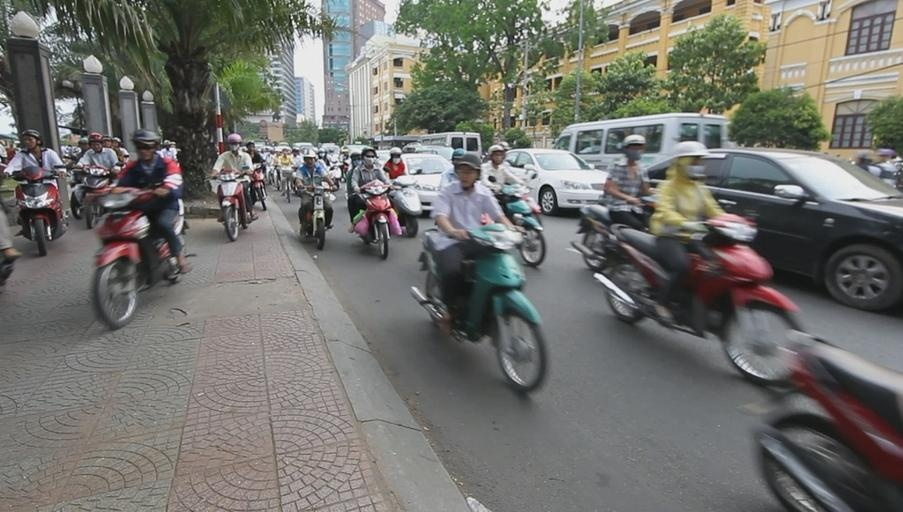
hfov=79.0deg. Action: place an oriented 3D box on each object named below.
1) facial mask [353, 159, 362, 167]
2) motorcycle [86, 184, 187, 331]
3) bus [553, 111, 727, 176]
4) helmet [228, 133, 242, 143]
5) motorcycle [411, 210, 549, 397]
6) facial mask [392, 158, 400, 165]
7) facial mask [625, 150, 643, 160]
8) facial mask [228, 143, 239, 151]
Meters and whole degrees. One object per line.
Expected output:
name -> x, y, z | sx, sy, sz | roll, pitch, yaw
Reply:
facial mask -> -2.014, -2.006, 11.884 | 0.195, 0.193, 0.210 | -2, 3, -22
motorcycle -> -4.477, -0.013, 7.630 | 0.644, 1.775, 1.405 | 1, 16, 0
bus -> 5.994, -3.576, 18.593 | 2.499, 2.158, 5.489 | -12, 15, -29
helmet -> -4.719, -2.544, 12.032 | 0.291, 0.180, 0.393 | -2, 10, -12
motorcycle -> 0.605, 0.617, 6.698 | 0.503, 1.905, 1.438 | -12, 21, -38
facial mask -> -1.386, -2.386, 13.778 | 0.183, 0.127, 0.223 | 0, -3, -6
facial mask -> 3.047, -1.699, 9.222 | 0.176, 0.124, 0.165 | -1, 14, -3
facial mask -> -4.831, -2.415, 12.238 | 0.142, 0.177, 0.147 | 2, 1, -3
